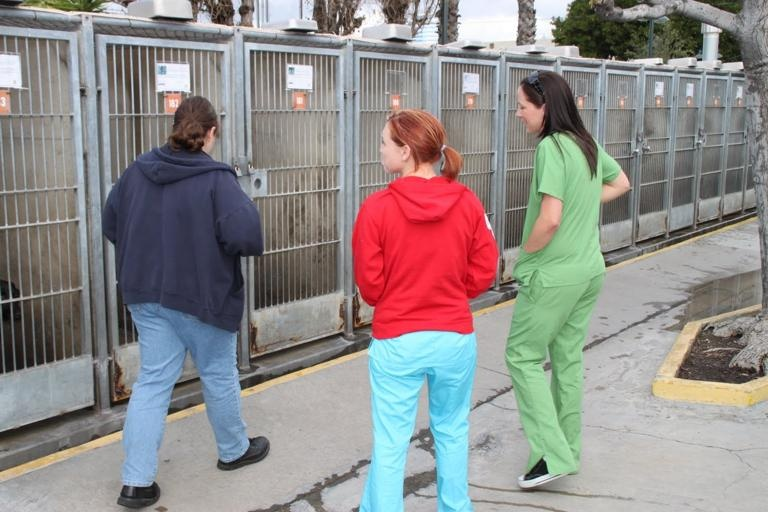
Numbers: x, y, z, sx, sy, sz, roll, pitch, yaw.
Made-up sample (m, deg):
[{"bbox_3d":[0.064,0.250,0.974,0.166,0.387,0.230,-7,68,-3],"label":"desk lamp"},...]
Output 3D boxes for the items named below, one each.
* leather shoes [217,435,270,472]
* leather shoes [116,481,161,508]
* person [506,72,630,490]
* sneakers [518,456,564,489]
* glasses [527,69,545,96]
[{"bbox_3d":[-1.101,1.522,5.402,0.173,0.191,0.387,17,29,39],"label":"leather shoes"},{"bbox_3d":[-1.752,1.694,4.881,0.135,0.150,0.313,4,6,14],"label":"leather shoes"},{"bbox_3d":[1.269,0.177,5.108,0.665,3.017,0.910,4,14,17],"label":"person"},{"bbox_3d":[1.108,1.620,5.115,0.417,0.189,0.161,-14,2,10],"label":"sneakers"},{"bbox_3d":[1.086,-1.270,4.984,0.049,0.161,0.126,-17,16,-31],"label":"glasses"}]
